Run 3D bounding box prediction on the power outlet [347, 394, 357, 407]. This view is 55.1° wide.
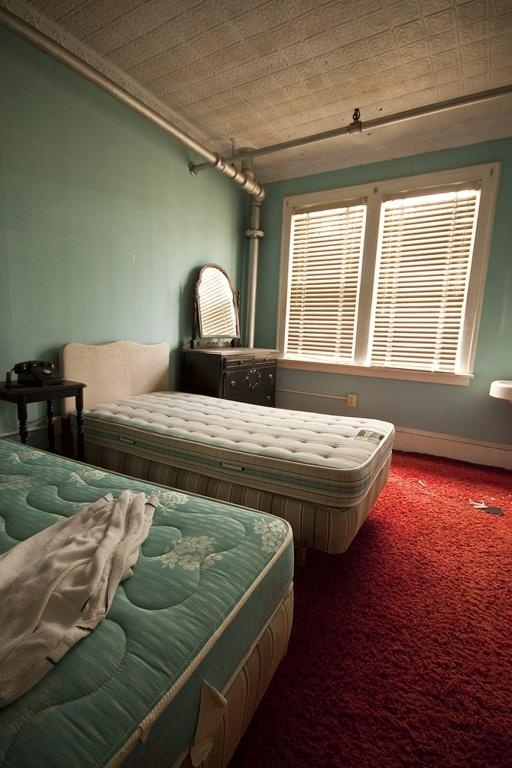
[{"bbox_3d":[0.758,0.132,3.885,0.092,0.129,0.012,5,6,42],"label":"power outlet"}]

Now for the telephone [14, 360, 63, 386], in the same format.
[{"bbox_3d":[-1.037,-0.056,2.324,0.127,0.082,0.166,-8,16,-36],"label":"telephone"}]

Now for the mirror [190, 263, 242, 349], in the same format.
[{"bbox_3d":[-0.340,-0.604,3.893,0.056,0.778,0.661,2,9,23],"label":"mirror"}]

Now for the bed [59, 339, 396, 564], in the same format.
[{"bbox_3d":[-0.182,0.218,2.408,1.548,0.729,0.961,10,15,32],"label":"bed"}]
